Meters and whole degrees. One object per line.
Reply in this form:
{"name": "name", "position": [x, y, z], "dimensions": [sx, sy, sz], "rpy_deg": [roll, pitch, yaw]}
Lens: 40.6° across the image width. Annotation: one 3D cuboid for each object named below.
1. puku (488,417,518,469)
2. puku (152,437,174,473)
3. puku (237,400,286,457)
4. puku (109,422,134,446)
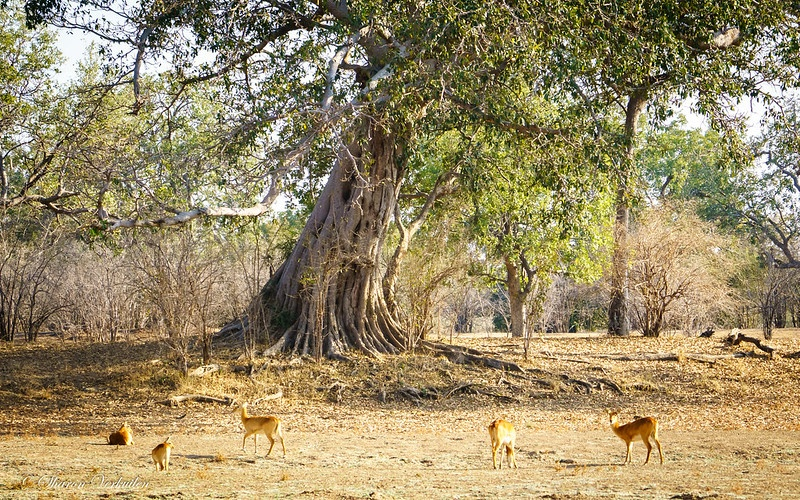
{"name": "puku", "position": [2.908, 5.314, 30.119], "dimensions": [0.781, 1.294, 0.931], "rpy_deg": [3, 14, 4]}
{"name": "puku", "position": [-6.554, 5.596, 29.934], "dimensions": [0.405, 1.033, 1.665], "rpy_deg": [-1, -1, -20]}
{"name": "puku", "position": [-3.841, 5.027, 30.757], "dimensions": [1.249, 1.201, 1.587], "rpy_deg": [0, 14, -8]}
{"name": "puku", "position": [-7.897, 5.207, 30.701], "dimensions": [0.690, 0.536, 0.609], "rpy_deg": [-2, 14, -17]}
